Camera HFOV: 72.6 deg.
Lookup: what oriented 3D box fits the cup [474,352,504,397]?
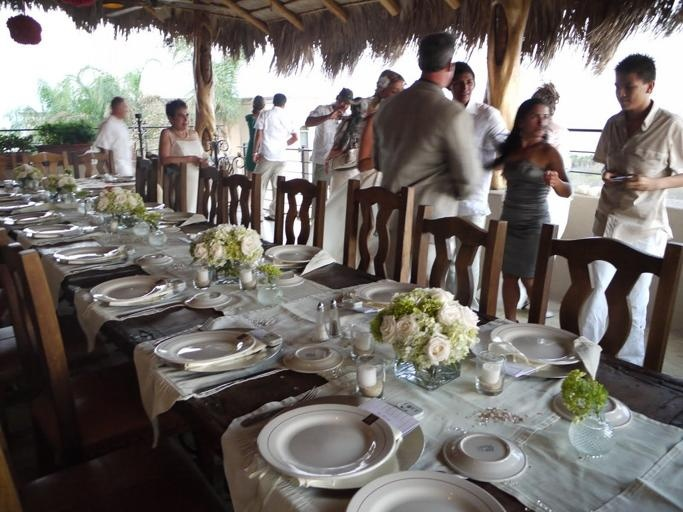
[{"bbox_3d":[0.398,0.317,1.256,0.086,0.107,0.098,0,6,1],"label":"cup"}]

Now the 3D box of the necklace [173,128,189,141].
[{"bbox_3d":[-1.709,-1.297,5.014,0.100,0.129,0.169,9,6,7],"label":"necklace"}]

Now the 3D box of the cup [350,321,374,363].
[{"bbox_3d":[0.055,0.277,1.473,0.077,0.088,0.078,-1,12,0],"label":"cup"}]

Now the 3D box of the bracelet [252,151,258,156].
[{"bbox_3d":[-1.269,-1.505,6.829,0.059,0.060,0.014,5,45,-4],"label":"bracelet"}]

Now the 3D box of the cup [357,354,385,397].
[{"bbox_3d":[0.082,0.330,1.309,0.086,0.094,0.081,-1,20,0],"label":"cup"}]

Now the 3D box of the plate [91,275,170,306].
[{"bbox_3d":[-0.859,0.134,1.887,0.166,0.022,0.167,24,30,38],"label":"plate"}]

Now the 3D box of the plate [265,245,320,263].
[{"bbox_3d":[-0.257,-0.013,2.352,0.143,0.016,0.141,-15,26,-36],"label":"plate"}]
